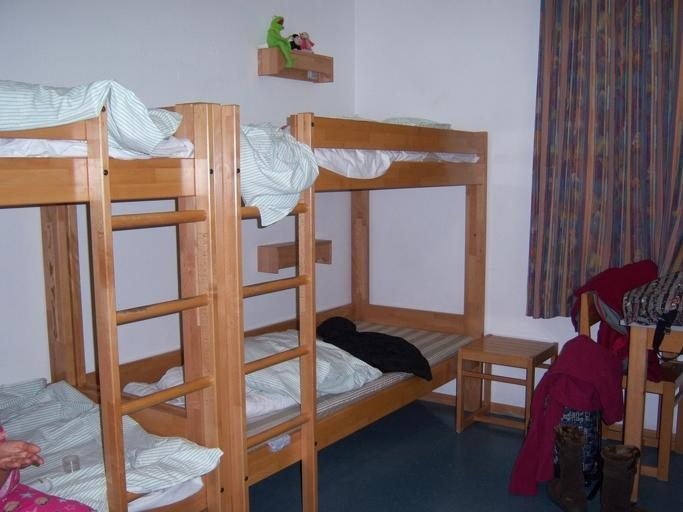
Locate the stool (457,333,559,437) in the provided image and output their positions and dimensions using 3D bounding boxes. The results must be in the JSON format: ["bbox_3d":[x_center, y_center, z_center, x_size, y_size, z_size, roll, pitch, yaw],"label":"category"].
[{"bbox_3d":[1.155,0.918,4.139,0.644,0.724,0.698,6,15,28],"label":"stool"}]

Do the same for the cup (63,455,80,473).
[{"bbox_3d":[-1.112,0.851,2.311,0.054,0.034,0.054,2,11,0],"label":"cup"}]

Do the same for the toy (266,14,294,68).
[{"bbox_3d":[-0.440,-1.523,3.997,0.190,0.367,0.173,-2,9,-6],"label":"toy"}]
